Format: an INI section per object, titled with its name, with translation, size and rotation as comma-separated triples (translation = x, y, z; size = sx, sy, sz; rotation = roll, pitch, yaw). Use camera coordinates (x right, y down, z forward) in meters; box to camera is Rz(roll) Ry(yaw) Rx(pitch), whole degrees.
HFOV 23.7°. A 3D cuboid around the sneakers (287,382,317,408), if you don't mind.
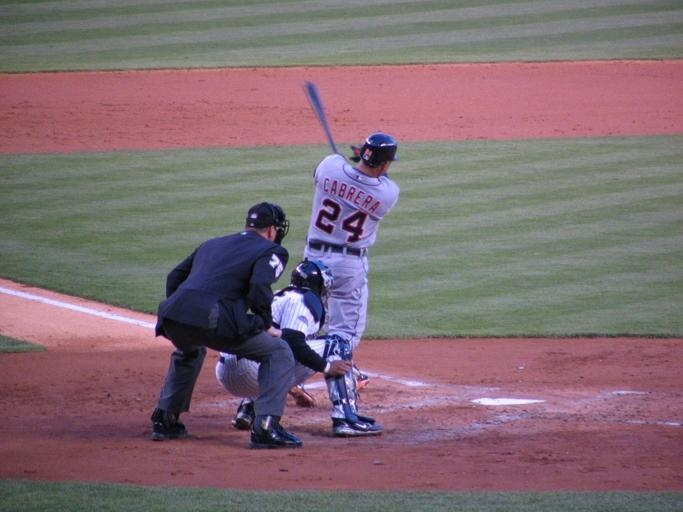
[sneakers]
translation = -0.634, 2.291, 26.294
size = 0.560, 0.155, 0.285
rotation = 28, -35, -2
